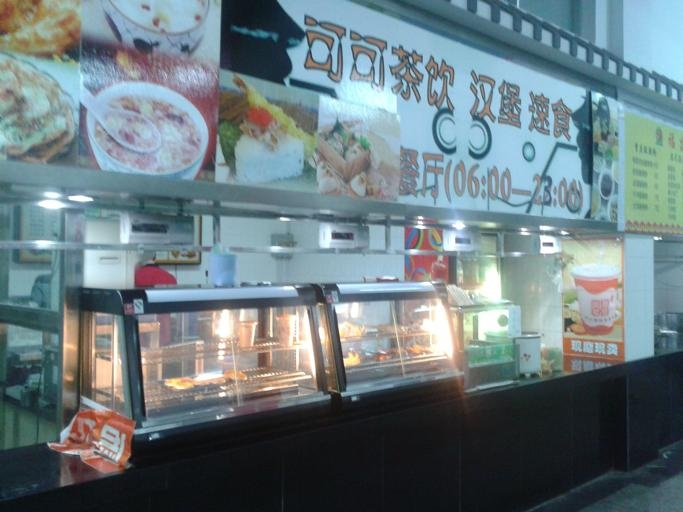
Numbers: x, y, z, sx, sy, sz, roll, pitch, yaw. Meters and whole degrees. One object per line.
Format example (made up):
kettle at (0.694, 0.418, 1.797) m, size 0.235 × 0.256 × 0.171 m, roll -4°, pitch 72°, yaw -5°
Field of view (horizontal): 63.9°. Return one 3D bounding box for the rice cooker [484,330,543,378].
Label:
rice cooker at (1.563, 0.876, 5.015) m, size 0.415 × 0.434 × 0.405 m, roll 2°, pitch -3°, yaw -44°

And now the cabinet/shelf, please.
cabinet/shelf at (-0.397, 0.621, 3.801) m, size 2.523 × 0.628 × 0.564 m, roll -2°, pitch -2°, yaw -28°
